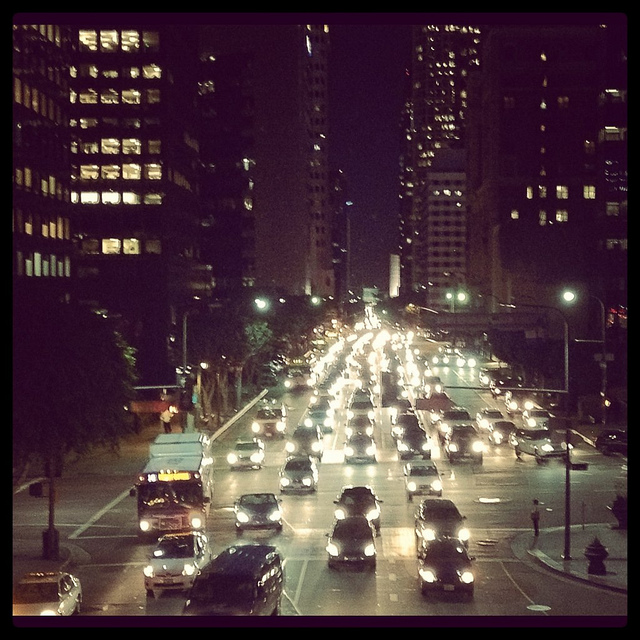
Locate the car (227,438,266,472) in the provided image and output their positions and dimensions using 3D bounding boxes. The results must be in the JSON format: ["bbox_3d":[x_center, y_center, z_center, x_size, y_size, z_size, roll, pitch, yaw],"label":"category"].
[{"bbox_3d":[-3.721,6.940,43.705,1.741,1.240,2.369,3,3,-3],"label":"car"}]

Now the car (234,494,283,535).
[{"bbox_3d":[-2.112,6.828,29.701,1.640,1.041,1.571,4,3,9],"label":"car"}]

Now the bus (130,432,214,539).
[{"bbox_3d":[-4.955,5.732,30.504,1.604,2.237,4.671,0,-1,1],"label":"bus"}]

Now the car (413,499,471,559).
[{"bbox_3d":[3.569,6.139,25.295,0.882,1.011,2.134,-1,-5,-1],"label":"car"}]

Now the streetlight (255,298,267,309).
[{"bbox_3d":[-3.648,-1.027,52.876,0.653,0.629,1.849,3,3,-7],"label":"streetlight"}]

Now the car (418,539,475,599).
[{"bbox_3d":[3.253,6.484,21.958,1.405,0.968,1.630,4,3,8],"label":"car"}]

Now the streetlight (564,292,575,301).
[{"bbox_3d":[10.247,-1.025,34.660,0.085,0.455,0.381,-1,5,-29],"label":"streetlight"}]

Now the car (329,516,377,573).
[{"bbox_3d":[1.025,6.811,25.603,1.480,1.737,3.235,-1,-15,5],"label":"car"}]

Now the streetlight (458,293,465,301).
[{"bbox_3d":[7.625,-1.290,45.464,0.294,0.374,0.073,-7,-6,34],"label":"streetlight"}]

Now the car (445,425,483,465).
[{"bbox_3d":[7.491,6.481,44.180,1.651,1.676,1.991,3,3,-5],"label":"car"}]

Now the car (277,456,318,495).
[{"bbox_3d":[-0.920,6.836,37.401,1.039,1.093,2.819,0,-1,1],"label":"car"}]

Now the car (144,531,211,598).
[{"bbox_3d":[-3.778,6.377,23.092,1.167,1.235,2.519,-1,1,2],"label":"car"}]

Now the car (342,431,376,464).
[{"bbox_3d":[2.135,6.869,45.238,1.558,1.175,2.163,3,3,1],"label":"car"}]
